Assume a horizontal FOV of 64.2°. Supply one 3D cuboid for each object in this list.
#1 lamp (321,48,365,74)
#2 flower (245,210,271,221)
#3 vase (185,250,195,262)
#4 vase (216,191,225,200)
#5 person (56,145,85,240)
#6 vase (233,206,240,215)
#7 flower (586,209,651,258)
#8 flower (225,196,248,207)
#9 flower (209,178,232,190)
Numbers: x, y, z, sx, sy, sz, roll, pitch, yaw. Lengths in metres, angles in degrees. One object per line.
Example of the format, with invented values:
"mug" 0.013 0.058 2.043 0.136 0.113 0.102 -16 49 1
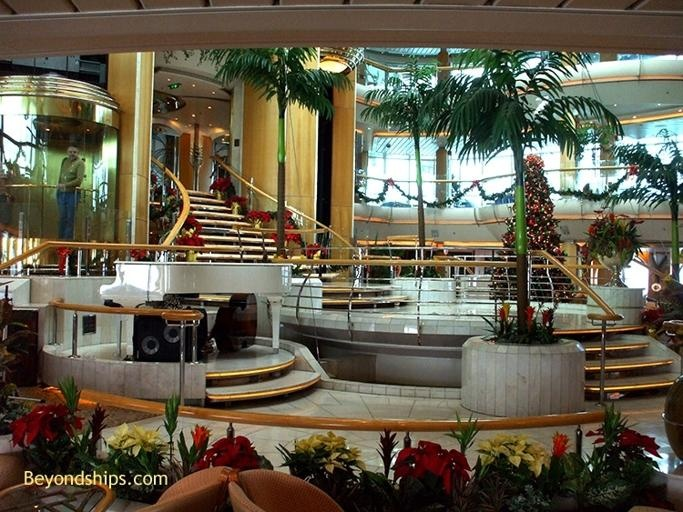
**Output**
"lamp" -0.005 -4.524 12.330 0.948 0.435 0.854 1 -1 -13
"flower" -1.694 -0.814 11.277 0.325 0.167 0.318 1 1 4
"vase" -1.947 0.007 7.041 0.144 0.155 0.140 0 5 4
"vase" -2.847 -1.409 12.780 0.158 0.171 0.155 4 -6 -35
"person" -4.122 -0.957 8.261 0.349 1.480 0.646 2 -2 -24
"vase" -2.359 -1.018 12.255 0.119 0.195 0.254 0 -2 24
"flower" 3.712 -0.279 7.413 0.649 0.643 0.558 0 -2 20
"flower" -2.364 -1.228 12.247 0.337 0.188 0.328 -2 2 -33
"flower" -2.839 -1.679 12.815 0.363 0.257 0.361 -2 7 23
